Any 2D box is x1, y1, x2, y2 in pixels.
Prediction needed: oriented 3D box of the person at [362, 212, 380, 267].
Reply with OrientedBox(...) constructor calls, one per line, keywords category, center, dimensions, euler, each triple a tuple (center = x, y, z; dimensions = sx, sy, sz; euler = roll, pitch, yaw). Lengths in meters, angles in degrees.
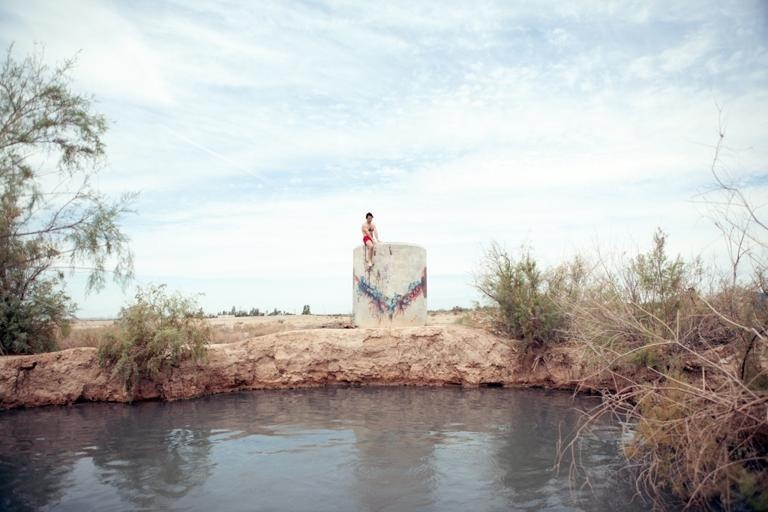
OrientedBox(category="person", center=(-0.540, -0.628, 22.151), dimensions=(0.589, 2.291, 0.904), euler=(-1, 3, -1))
